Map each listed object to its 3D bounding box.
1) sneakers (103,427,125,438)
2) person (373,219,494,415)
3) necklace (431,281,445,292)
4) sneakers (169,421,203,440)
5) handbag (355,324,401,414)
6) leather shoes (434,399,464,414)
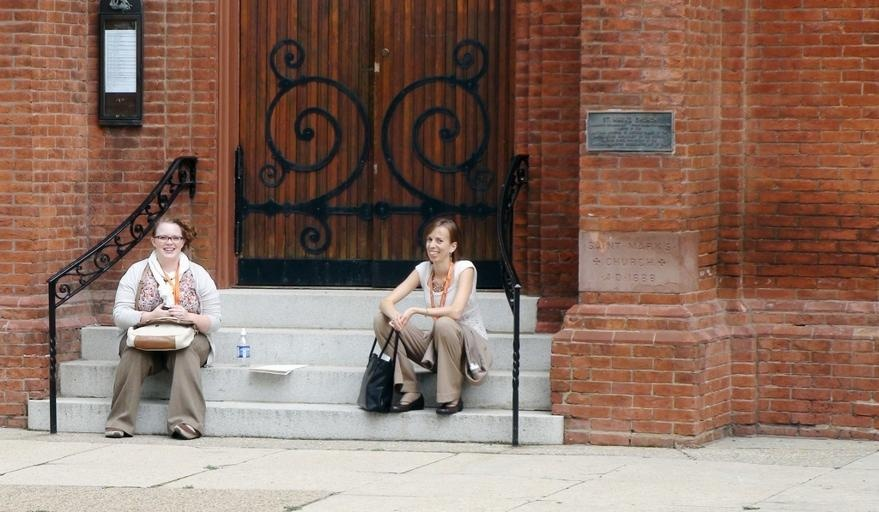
[{"bbox_3d":[-3.345,1.819,13.399,0.205,0.108,0.110,-2,14,-7],"label":"sneakers"},{"bbox_3d":[-0.059,0.627,13.316,1.147,1.926,0.836,-3,16,-7],"label":"person"},{"bbox_3d":[-0.012,0.306,13.452,0.117,0.086,0.044,-4,-7,31],"label":"necklace"},{"bbox_3d":[-2.619,1.791,13.350,0.177,0.104,0.288,16,5,16],"label":"sneakers"},{"bbox_3d":[-0.607,1.182,13.258,0.421,0.856,0.264,0,16,2],"label":"handbag"},{"bbox_3d":[0.120,1.550,13.254,0.139,0.084,0.251,-4,-5,36],"label":"leather shoes"}]
